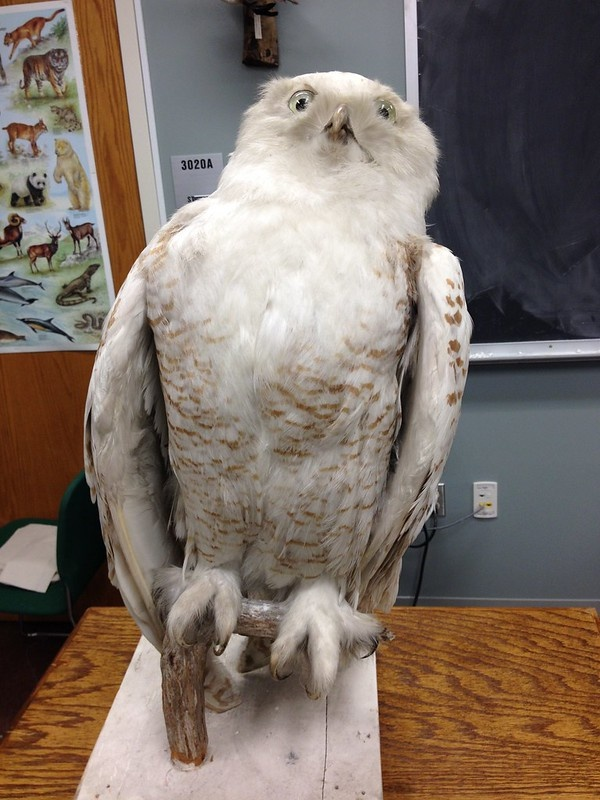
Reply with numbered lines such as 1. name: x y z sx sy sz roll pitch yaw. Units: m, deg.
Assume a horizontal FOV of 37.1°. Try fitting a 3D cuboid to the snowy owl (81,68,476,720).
1. snowy owl: -0.010 -0.002 1.410 0.585 0.936 0.424 -22 31 -30
